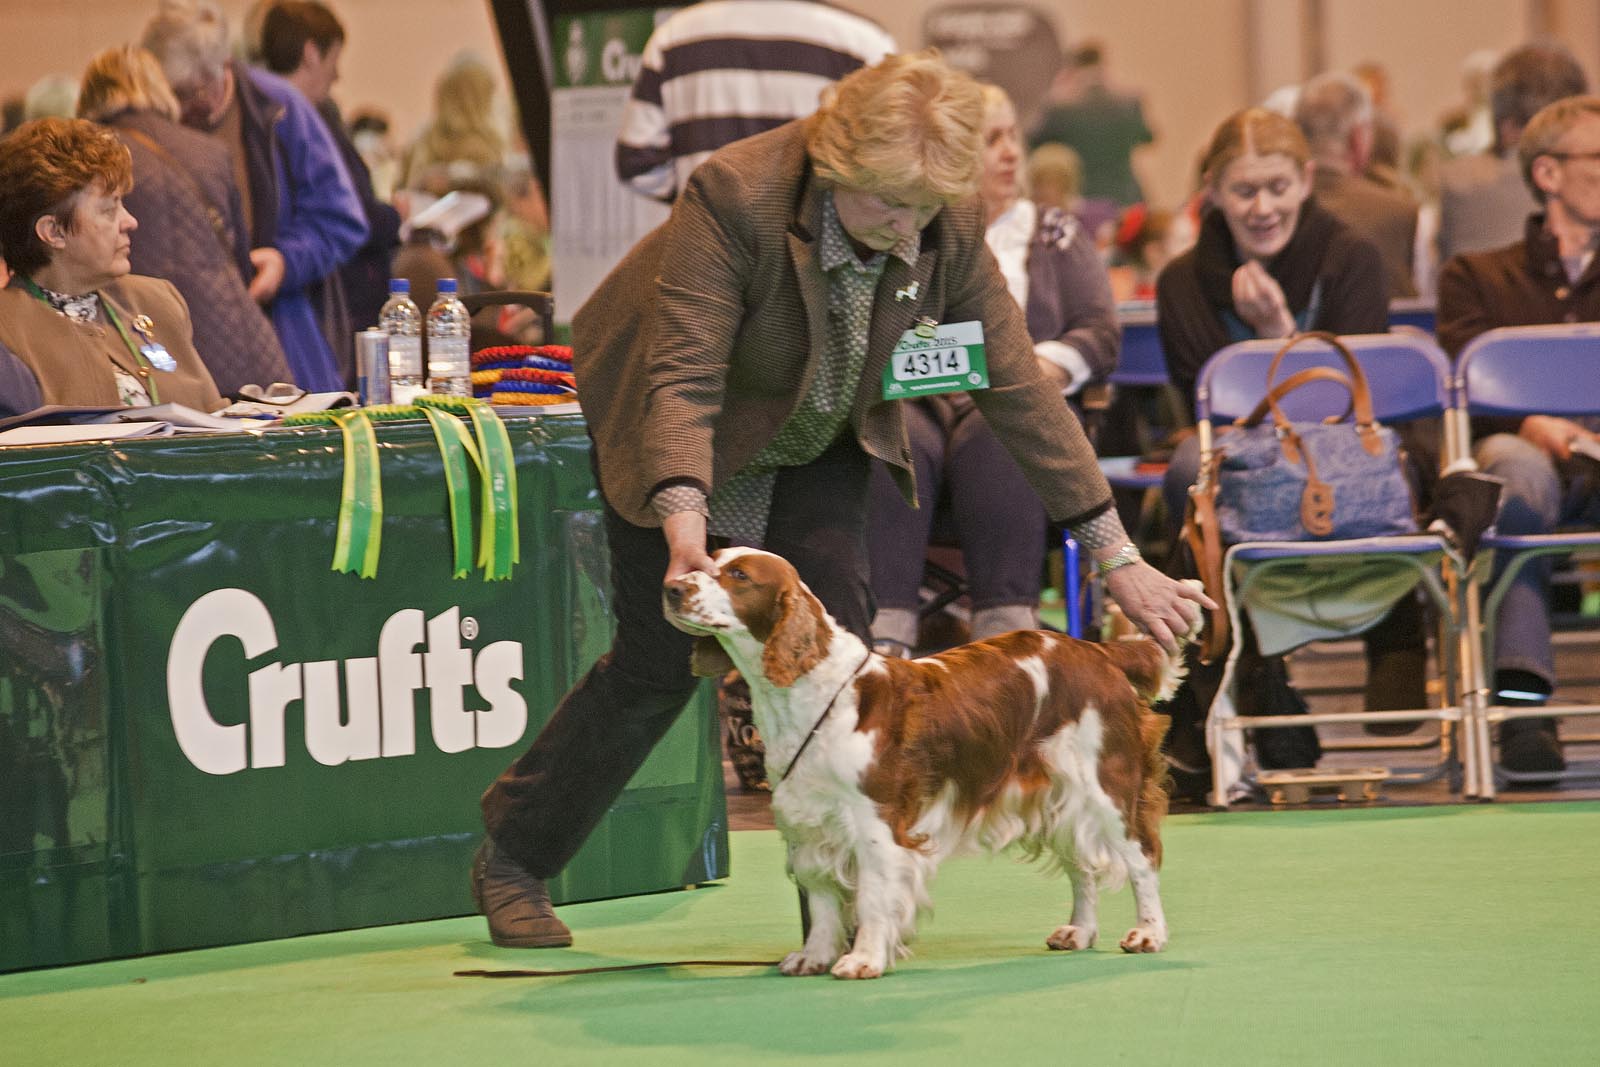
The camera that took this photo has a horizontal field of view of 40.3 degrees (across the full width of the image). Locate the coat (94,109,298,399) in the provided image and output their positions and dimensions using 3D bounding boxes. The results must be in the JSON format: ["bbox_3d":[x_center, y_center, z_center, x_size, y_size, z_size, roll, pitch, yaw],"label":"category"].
[{"bbox_3d":[-2.123,-0.928,7.998,0.398,0.827,0.407,-9,10,-29],"label":"coat"}]

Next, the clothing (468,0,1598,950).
[{"bbox_3d":[0.241,-0.611,6.757,2.053,2.704,1.791,26,26,31],"label":"clothing"}]

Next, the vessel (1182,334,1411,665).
[{"bbox_3d":[1.733,-0.265,7.431,0.696,0.866,0.495,-17,18,-22],"label":"vessel"}]

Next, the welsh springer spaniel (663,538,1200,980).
[{"bbox_3d":[0.329,0.587,5.670,1.380,1.111,0.285,-2,-6,-22],"label":"welsh springer spaniel"}]
